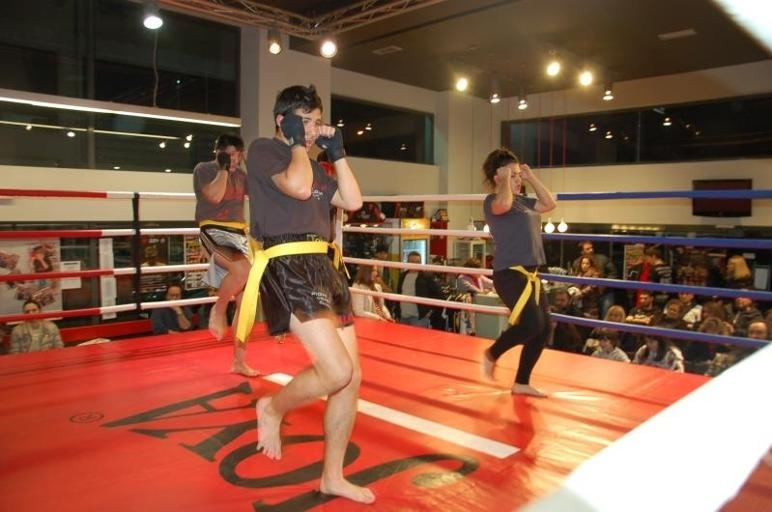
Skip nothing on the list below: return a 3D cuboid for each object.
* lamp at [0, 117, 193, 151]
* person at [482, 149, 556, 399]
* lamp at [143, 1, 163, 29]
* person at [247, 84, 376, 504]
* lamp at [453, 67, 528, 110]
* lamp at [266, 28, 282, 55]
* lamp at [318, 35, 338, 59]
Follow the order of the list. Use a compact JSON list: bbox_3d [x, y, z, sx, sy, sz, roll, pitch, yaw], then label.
[{"bbox_3d":[-3.880,-1.620,6.887,2.146,0.260,0.068,-7,10,-38],"label":"lamp"},{"bbox_3d":[0.812,0.073,3.207,0.442,1.475,0.511,2,8,14],"label":"person"},{"bbox_3d":[-2.832,-2.912,6.148,0.162,0.350,0.435,-4,9,-26],"label":"lamp"},{"bbox_3d":[-0.282,0.118,2.202,0.647,1.690,0.397,4,9,29],"label":"person"},{"bbox_3d":[2.110,-3.207,10.138,1.421,0.528,2.470,2,9,15],"label":"lamp"},{"bbox_3d":[-1.457,-2.797,6.652,0.160,0.291,0.267,-2,8,-14],"label":"lamp"},{"bbox_3d":[-0.764,-2.759,6.705,0.214,0.248,0.304,-2,8,-12],"label":"lamp"}]
